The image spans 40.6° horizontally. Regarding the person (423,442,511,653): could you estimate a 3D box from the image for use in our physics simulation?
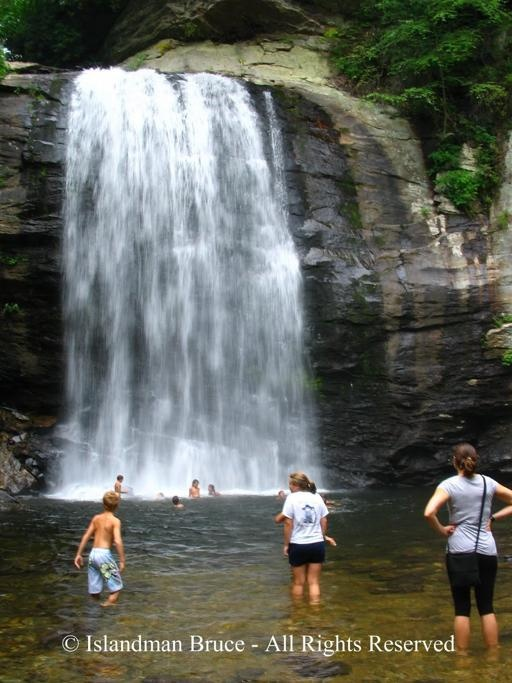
[{"bbox_3d":[1.714,1.683,5.560,0.688,1.574,0.366,-7,1,2],"label":"person"}]

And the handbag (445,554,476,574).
[{"bbox_3d":[1.610,1.752,5.461,0.202,0.158,0.094,-3,-5,19],"label":"handbag"}]

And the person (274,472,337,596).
[{"bbox_3d":[0.477,1.933,6.760,0.526,1.265,0.365,-7,1,-2],"label":"person"}]
